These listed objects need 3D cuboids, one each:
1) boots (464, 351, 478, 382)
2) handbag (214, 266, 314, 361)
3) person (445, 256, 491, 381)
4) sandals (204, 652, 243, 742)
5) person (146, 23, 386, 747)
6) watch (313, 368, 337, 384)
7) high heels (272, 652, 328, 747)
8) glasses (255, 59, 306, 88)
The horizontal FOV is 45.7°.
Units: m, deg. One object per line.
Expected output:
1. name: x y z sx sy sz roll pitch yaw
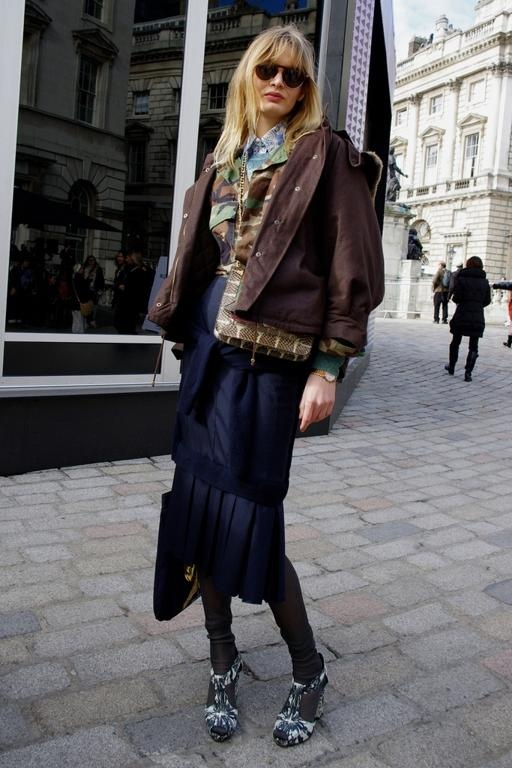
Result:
1. boots: 3.573 -0.292 10.202 0.140 0.528 0.324 5 5 17
2. handbag: 0.018 -0.165 1.404 0.225 0.215 0.122 4 5 11
3. person: 3.603 -1.163 10.439 0.790 2.115 0.695 8 9 13
4. sandals: -0.087 0.839 1.570 0.080 0.112 0.184 1 5 1
5. person: 0.000 -0.009 1.533 0.585 1.838 0.412 4 5 14
6. watch: 0.163 -0.018 1.407 0.037 0.039 0.040 16 15 0
7. high heels: 0.113 0.832 1.577 0.125 0.116 0.294 2 4 7
8. glasses: 0.060 -0.747 1.475 0.128 0.062 0.052 3 5 -2
